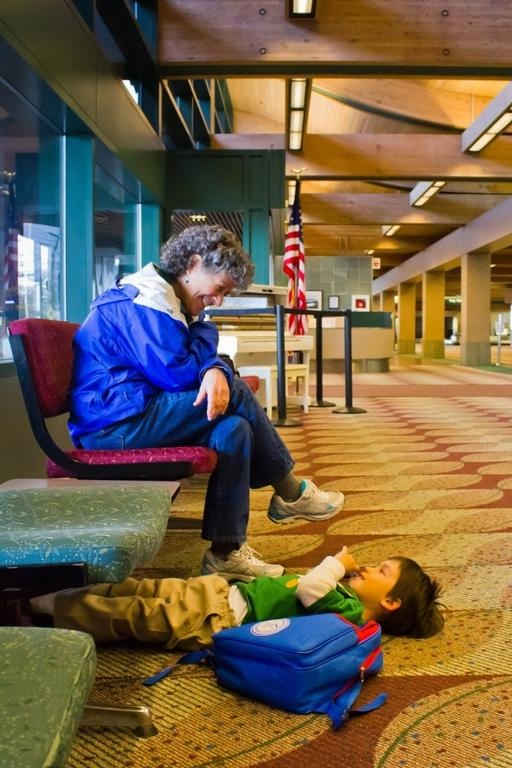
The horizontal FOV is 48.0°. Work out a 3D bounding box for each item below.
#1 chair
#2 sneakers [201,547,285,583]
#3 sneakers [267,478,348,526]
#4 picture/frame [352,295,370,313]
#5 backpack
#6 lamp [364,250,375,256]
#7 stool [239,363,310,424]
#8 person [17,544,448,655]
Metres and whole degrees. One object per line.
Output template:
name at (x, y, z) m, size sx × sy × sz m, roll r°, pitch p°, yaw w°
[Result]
chair at (-0.376, 0.072, 1.509) m, size 0.408 × 0.386 × 0.554 m, roll 1°, pitch -2°, yaw -8°
sneakers at (-0.045, 0.458, 1.505) m, size 0.232 × 0.108 × 0.083 m, roll 3°, pitch 0°, yaw -12°
sneakers at (0.154, 0.358, 1.860) m, size 0.290 × 0.142 × 0.110 m, roll -5°, pitch 30°, yaw -20°
picture/frame at (2.739, -2.104, 15.030) m, size 0.463 × 0.406 × 0.524 m, roll 1°, pitch 4°, yaw 8°
backpack at (0.054, 0.441, 0.982) m, size 0.207 × 0.076 × 0.155 m, roll 0°, pitch 5°, yaw 34°
lamp at (3.177, -3.640, 16.081) m, size 0.223 × 0.056 × 0.208 m, roll 1°, pitch -14°, yaw -8°
stool at (0.176, -0.006, 4.733) m, size 0.623 × 0.569 × 0.472 m, roll -2°, pitch 1°, yaw -4°
person at (-0.015, 0.370, 1.239) m, size 0.921 × 0.238 × 0.307 m, roll 3°, pitch -11°, yaw -10°
